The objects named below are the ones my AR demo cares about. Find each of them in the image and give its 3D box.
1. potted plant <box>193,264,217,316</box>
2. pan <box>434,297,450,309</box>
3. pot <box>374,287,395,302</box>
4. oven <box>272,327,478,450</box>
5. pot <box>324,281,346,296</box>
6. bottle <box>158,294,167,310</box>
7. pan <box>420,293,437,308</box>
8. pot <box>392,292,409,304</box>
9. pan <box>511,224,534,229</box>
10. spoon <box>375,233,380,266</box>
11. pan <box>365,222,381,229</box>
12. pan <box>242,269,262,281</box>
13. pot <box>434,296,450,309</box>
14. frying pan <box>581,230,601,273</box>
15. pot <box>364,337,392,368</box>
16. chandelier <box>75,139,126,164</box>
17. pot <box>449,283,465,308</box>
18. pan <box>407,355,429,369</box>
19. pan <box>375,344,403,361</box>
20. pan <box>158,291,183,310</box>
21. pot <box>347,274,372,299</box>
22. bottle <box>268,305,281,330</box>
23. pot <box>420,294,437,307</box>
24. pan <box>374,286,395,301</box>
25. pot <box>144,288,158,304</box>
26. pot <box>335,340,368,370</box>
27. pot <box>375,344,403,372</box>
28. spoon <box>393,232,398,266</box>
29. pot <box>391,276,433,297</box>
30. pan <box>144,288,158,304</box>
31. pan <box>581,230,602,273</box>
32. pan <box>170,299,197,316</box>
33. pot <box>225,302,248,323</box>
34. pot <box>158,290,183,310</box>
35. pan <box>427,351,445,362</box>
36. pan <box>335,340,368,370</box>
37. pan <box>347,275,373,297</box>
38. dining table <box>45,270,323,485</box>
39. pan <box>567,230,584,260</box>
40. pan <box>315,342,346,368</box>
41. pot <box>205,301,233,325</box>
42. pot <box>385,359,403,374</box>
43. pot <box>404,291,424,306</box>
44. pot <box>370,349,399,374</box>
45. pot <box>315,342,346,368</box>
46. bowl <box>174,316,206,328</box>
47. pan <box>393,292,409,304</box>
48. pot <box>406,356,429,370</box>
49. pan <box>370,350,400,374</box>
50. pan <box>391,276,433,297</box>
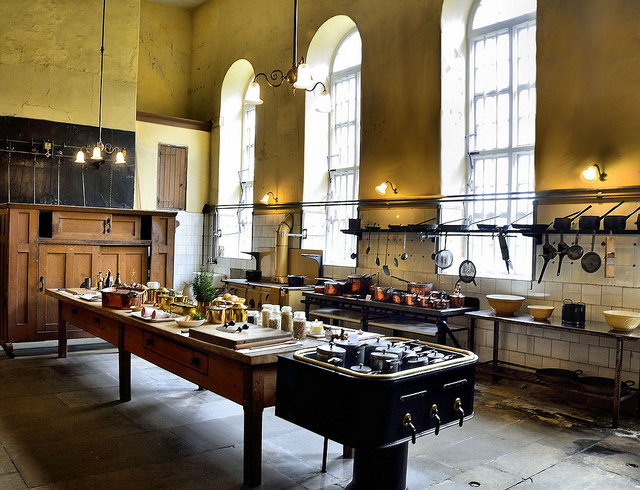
[{"bbox_3d":[-1.223,0.454,5.654,0.189,0.391,0.168,3,-39,-19],"label":"potted plant"},{"bbox_3d":[1.667,0.778,7.172,0.286,0.133,0.109,-3,7,-30],"label":"pan"},{"bbox_3d":[0.948,0.710,7.826,0.244,0.179,0.182,0,-2,27],"label":"pot"},{"bbox_3d":[0.409,1.073,3.949,1.163,0.653,0.925,-4,8,-40],"label":"oven"},{"bbox_3d":[0.223,0.666,8.330,0.225,0.148,0.230,2,0,0],"label":"pot"},{"bbox_3d":[-1.861,0.664,6.300,0.137,0.159,0.137,4,4,25],"label":"bottle"},{"bbox_3d":[1.472,0.753,7.260,0.143,0.165,0.179,4,4,40],"label":"pan"},{"bbox_3d":[1.128,0.743,7.596,0.159,0.116,0.123,0,-1,-20],"label":"pot"},{"bbox_3d":[2.554,-0.237,6.726,0.268,0.061,0.161,3,7,20],"label":"pan"},{"bbox_3d":[0.927,0.061,8.563,0.062,0.517,0.134,1,6,5],"label":"spoon"},{"bbox_3d":[0.815,-0.310,8.406,0.202,0.088,0.491,1,6,1],"label":"pan"},{"bbox_3d":[-1.271,0.563,9.940,0.182,0.127,0.245,-8,-10,43],"label":"pan"},{"bbox_3d":[1.634,0.763,7.171,0.144,0.150,0.148,1,1,0],"label":"pot"},{"bbox_3d":[3.271,0.099,6.466,0.062,0.449,0.231,4,5,39],"label":"frying pan"},{"bbox_3d":[0.409,0.806,4.080,0.168,0.288,0.170,1,3,0],"label":"pot"},{"bbox_3d":[-4.165,-1.761,9.974,0.709,0.311,0.743,0,4,-4],"label":"chandelier"},{"bbox_3d":[1.902,0.682,7.408,0.198,0.294,0.427,2,6,15],"label":"pot"},{"bbox_3d":[0.705,0.830,3.816,0.115,0.111,0.078,-3,4,-30],"label":"pan"},{"bbox_3d":[0.522,0.795,3.982,0.128,0.077,0.098,4,-6,-34],"label":"pan"},{"bbox_3d":[-1.765,0.636,6.243,0.253,0.122,0.174,0,1,-39],"label":"pan"},{"bbox_3d":[0.607,0.623,8.153,0.340,0.270,0.274,3,-4,-19],"label":"pot"},{"bbox_3d":[-0.432,0.683,5.092,0.109,0.184,0.254,0,6,-5],"label":"bottle"},{"bbox_3d":[1.464,0.752,7.236,0.160,0.149,0.130,-1,3,-43],"label":"pot"},{"bbox_3d":[0.935,0.706,7.826,0.233,0.174,0.176,1,-3,5],"label":"pan"},{"bbox_3d":[-2.104,0.567,6.589,0.143,0.291,0.276,2,0,-29],"label":"pot"},{"bbox_3d":[0.238,0.798,3.953,0.214,0.203,0.136,3,-3,0],"label":"pot"},{"bbox_3d":[0.512,0.817,3.985,0.170,0.166,0.133,2,-4,-9],"label":"pot"},{"bbox_3d":[1.194,0.068,8.344,0.034,0.489,0.084,-4,8,-36],"label":"spoon"},{"bbox_3d":[1.376,0.599,7.827,0.455,0.195,0.254,2,-4,11],"label":"pot"},{"bbox_3d":[-2.103,0.567,6.585,0.143,0.288,0.278,2,1,-28],"label":"pan"},{"bbox_3d":[3.282,0.096,6.451,0.062,0.447,0.229,5,-3,-39],"label":"pan"},{"bbox_3d":[-1.496,0.688,5.870,0.191,0.130,0.340,4,-6,-39],"label":"pan"},{"bbox_3d":[-0.833,0.658,5.247,0.163,0.175,0.178,2,-9,0],"label":"pot"},{"bbox_3d":[-1.772,0.643,6.281,0.256,0.200,0.174,-1,-1,-11],"label":"pot"},{"bbox_3d":[0.878,0.833,4.022,0.108,0.029,0.188,5,7,33],"label":"pan"},{"bbox_3d":[0.246,0.806,3.953,0.207,0.202,0.131,1,-5,6],"label":"pan"},{"bbox_3d":[0.600,0.617,8.191,0.331,0.258,0.274,4,-5,-18],"label":"pan"},{"bbox_3d":[-2.025,1.149,6.358,0.960,1.403,5.118,-5,9,-44],"label":"dining table"},{"bbox_3d":[3.080,-0.010,6.448,0.056,0.339,0.180,10,-8,-39],"label":"pan"},{"bbox_3d":[0.084,0.793,3.898,0.147,0.172,0.153,7,-5,-13],"label":"pan"},{"bbox_3d":[-1.031,0.694,5.399,0.244,0.230,0.156,5,-6,-15],"label":"pot"},{"bbox_3d":[0.518,0.849,3.723,0.090,0.094,0.072,4,-4,-4],"label":"pot"},{"bbox_3d":[1.302,0.761,7.430,0.213,0.155,0.131,0,-2,39],"label":"pot"},{"bbox_3d":[0.458,0.822,3.783,0.155,0.145,0.125,3,-4,-17],"label":"pot"},{"bbox_3d":[0.079,0.793,3.911,0.152,0.178,0.154,6,-3,0],"label":"pot"},{"bbox_3d":[-1.284,0.769,5.254,0.274,0.087,0.238,-1,6,-13],"label":"bowl"},{"bbox_3d":[1.140,0.744,7.618,0.123,0.140,0.194,2,-1,34],"label":"pan"},{"bbox_3d":[0.697,0.833,3.830,0.118,0.121,0.078,-3,7,-25],"label":"pot"},{"bbox_3d":[0.457,0.824,3.778,0.171,0.158,0.115,2,0,35],"label":"pan"},{"bbox_3d":[1.378,0.596,7.836,0.461,0.198,0.257,2,-4,11],"label":"pan"}]
